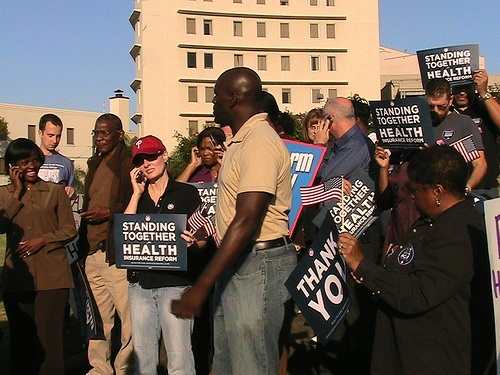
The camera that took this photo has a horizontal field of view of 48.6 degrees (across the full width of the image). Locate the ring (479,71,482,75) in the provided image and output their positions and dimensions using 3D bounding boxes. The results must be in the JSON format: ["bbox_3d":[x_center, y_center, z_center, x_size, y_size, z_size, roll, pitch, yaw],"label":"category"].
[{"bbox_3d":[3.136,-1.553,7.549,0.028,0.043,0.013,2,4,37],"label":"ring"}]

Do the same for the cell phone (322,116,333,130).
[{"bbox_3d":[1.005,-0.847,7.164,0.046,0.155,0.124,-2,5,-28],"label":"cell phone"}]

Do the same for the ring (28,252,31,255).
[{"bbox_3d":[-2.529,0.757,6.338,0.028,0.008,0.029,-4,-38,-3],"label":"ring"}]

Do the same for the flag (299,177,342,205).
[{"bbox_3d":[0.829,0.037,6.459,0.517,0.279,0.301,-1,1,-10],"label":"flag"}]

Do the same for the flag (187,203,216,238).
[{"bbox_3d":[-0.497,0.330,5.753,0.365,0.479,0.229,3,3,-8],"label":"flag"}]

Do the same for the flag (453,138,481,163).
[{"bbox_3d":[2.341,-0.408,6.002,0.263,0.196,0.025,-41,25,-11],"label":"flag"}]

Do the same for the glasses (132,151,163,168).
[{"bbox_3d":[-1.100,-0.290,6.008,0.213,0.161,0.348,-36,-2,-6],"label":"glasses"}]

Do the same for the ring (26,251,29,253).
[{"bbox_3d":[-2.539,0.735,6.323,0.017,0.033,0.017,3,0,0],"label":"ring"}]

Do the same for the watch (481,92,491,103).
[{"bbox_3d":[3.252,-1.232,7.646,0.101,0.034,0.107,-17,-16,20],"label":"watch"}]

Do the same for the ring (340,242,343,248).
[{"bbox_3d":[0.777,0.481,4.728,0.029,0.047,0.012,-1,-7,21],"label":"ring"}]
